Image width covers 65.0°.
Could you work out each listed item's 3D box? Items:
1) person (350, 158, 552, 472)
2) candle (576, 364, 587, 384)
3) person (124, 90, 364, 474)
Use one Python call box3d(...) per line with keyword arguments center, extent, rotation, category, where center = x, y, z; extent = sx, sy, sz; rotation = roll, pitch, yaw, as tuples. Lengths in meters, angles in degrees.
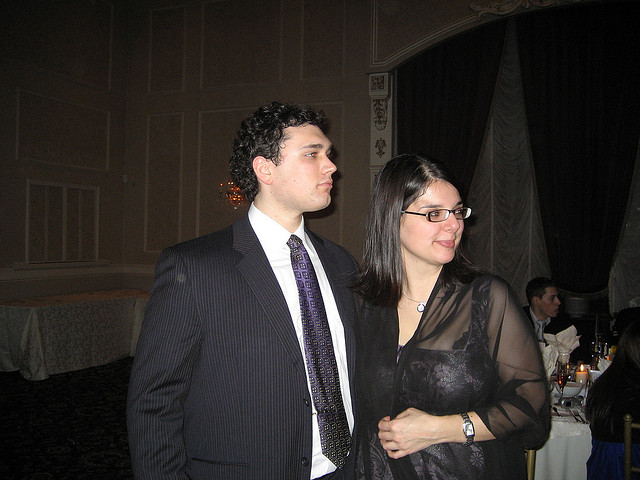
box3d(center=(0.551, 0.341, 2.375), extent=(0.916, 1.457, 0.538), rotation=(-5, 10, 1), category="person")
box3d(center=(1.895, 0.984, 3.639), extent=(0.076, 0.159, 0.081), rotation=(0, 3, -4), category="candle")
box3d(center=(-0.327, 0.225, 2.286), extent=(1.090, 1.651, 0.667), rotation=(-7, 10, -10), category="person")
